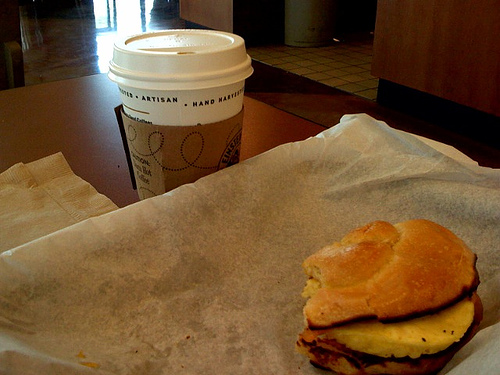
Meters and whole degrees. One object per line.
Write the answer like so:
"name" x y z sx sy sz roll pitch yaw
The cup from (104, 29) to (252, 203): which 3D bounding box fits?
"cup" -0.115 -0.100 0.796 0.231 0.322 0.228 2 31 -1
